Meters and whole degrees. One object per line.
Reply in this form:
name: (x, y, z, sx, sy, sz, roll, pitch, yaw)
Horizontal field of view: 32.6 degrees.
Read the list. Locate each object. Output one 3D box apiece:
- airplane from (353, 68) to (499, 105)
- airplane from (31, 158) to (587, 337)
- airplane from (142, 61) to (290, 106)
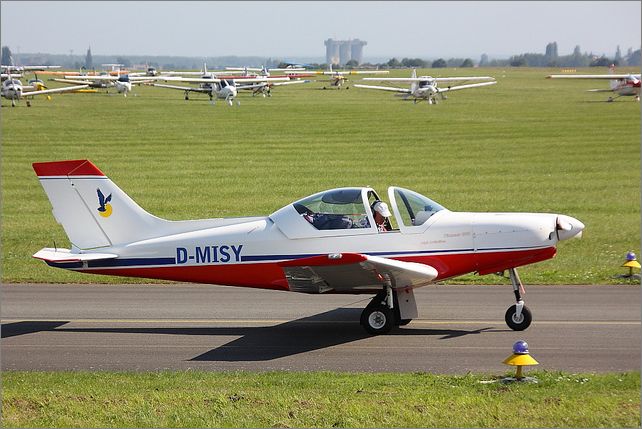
airplane: (8.693, -10.780, 91.339, 11.356, 2.126, 6.987, -4, 6, 0)
airplane: (-0.391, 0.829, 36.675, 17.961, 4.041, 16.317, 1, 11, 6)
airplane: (-9.380, -11.143, 94.786, 10.538, 2.324, 8.125, 1, 11, 26)
